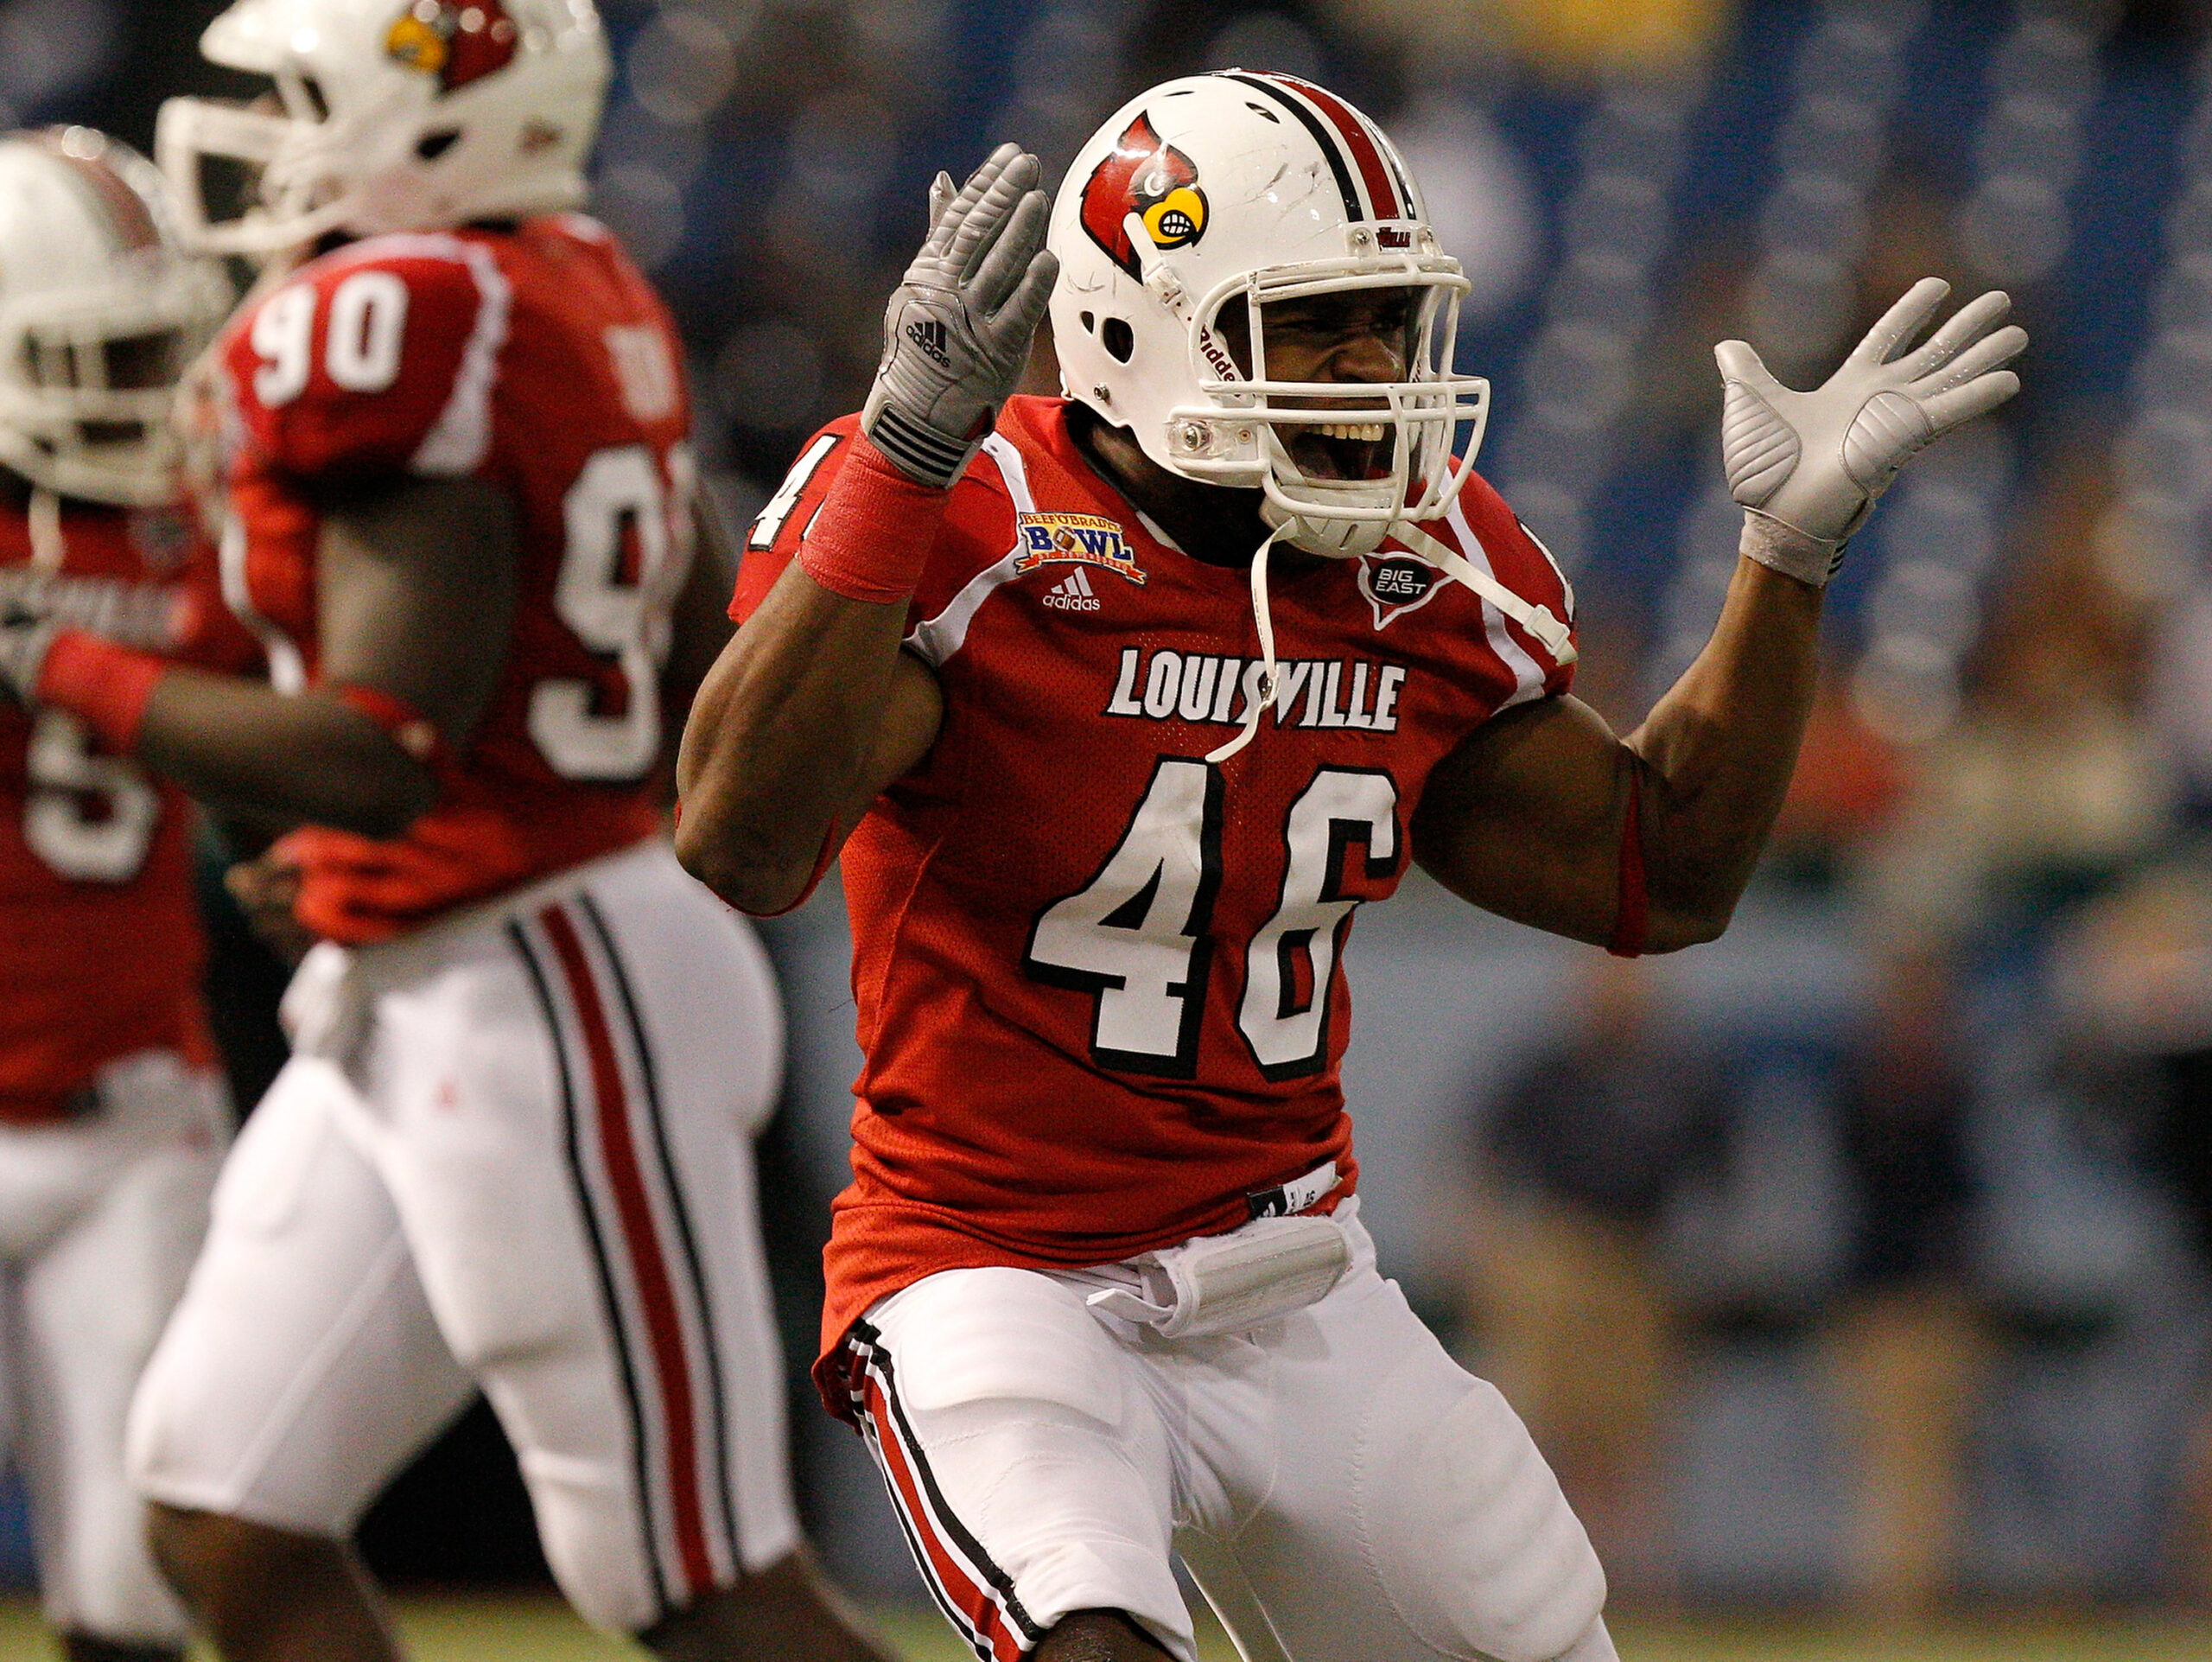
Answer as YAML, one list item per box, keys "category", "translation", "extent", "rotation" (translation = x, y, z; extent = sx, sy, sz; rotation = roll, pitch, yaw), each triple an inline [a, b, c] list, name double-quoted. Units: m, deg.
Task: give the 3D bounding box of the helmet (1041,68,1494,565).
- category: "helmet"
  translation: [0.241, -0.634, 3.836]
  extent: [0.612, 0.508, 0.554]
  rotation: [5, 94, 35]

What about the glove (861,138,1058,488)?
- category: "glove"
  translation: [-0.156, -0.566, 3.474]
  extent: [0.211, 0.143, 0.388]
  rotation: [31, 66, -17]
